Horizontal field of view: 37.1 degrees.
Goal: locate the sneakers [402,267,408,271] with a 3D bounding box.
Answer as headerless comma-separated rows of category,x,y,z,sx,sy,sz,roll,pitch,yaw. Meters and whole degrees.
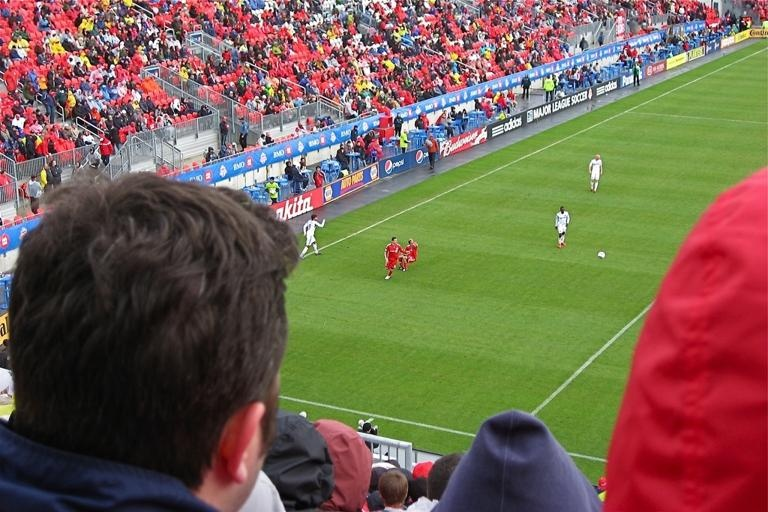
sneakers,0.465,0.297,24.902,0.074,0.089,0.130,-1,0,3

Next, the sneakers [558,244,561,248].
sneakers,4.095,-0.219,26.579,0.104,0.060,0.178,2,9,7

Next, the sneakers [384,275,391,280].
sneakers,0.101,0.456,24.549,0.113,0.077,0.177,1,8,0
